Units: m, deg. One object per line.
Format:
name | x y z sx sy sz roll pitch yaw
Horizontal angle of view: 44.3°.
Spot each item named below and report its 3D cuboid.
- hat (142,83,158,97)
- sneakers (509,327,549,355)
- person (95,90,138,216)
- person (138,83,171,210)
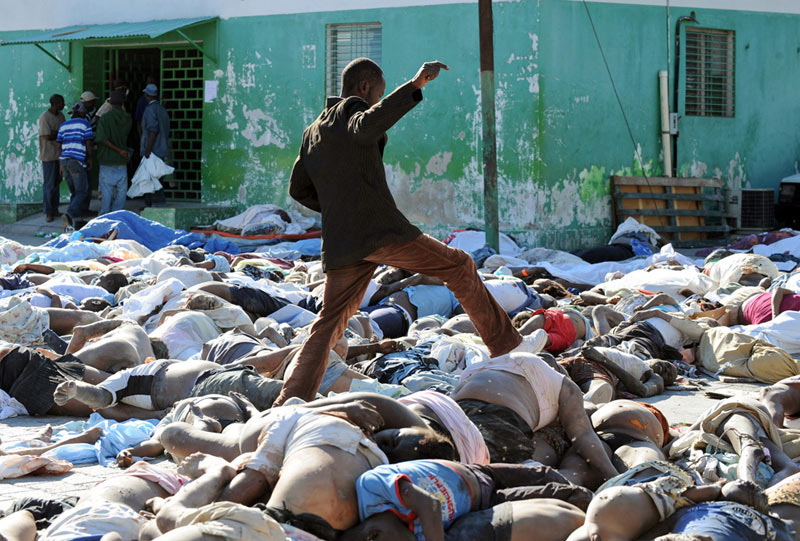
hat | -4.504 -3.253 17.751 0.226 0.185 0.285 -7 21 -39
sneakers | 1.259 0.734 9.445 0.175 0.234 0.499 -6 23 42
person | -5.143 -2.164 17.711 0.604 2.280 0.674 -2 4 -16
person | -4.442 -2.295 17.863 0.496 2.246 1.008 -2 3 -14
